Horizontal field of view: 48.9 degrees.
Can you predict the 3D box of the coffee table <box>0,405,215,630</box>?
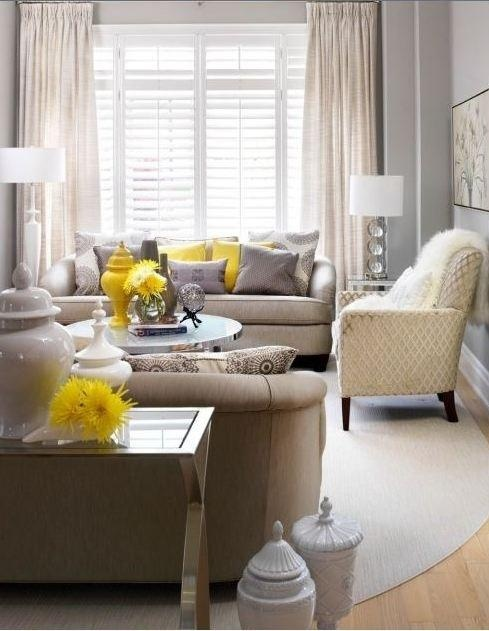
[{"bbox_3d":[-0.293,0.425,1.143,0.408,0.419,0.542,0,7,1],"label":"coffee table"}]
